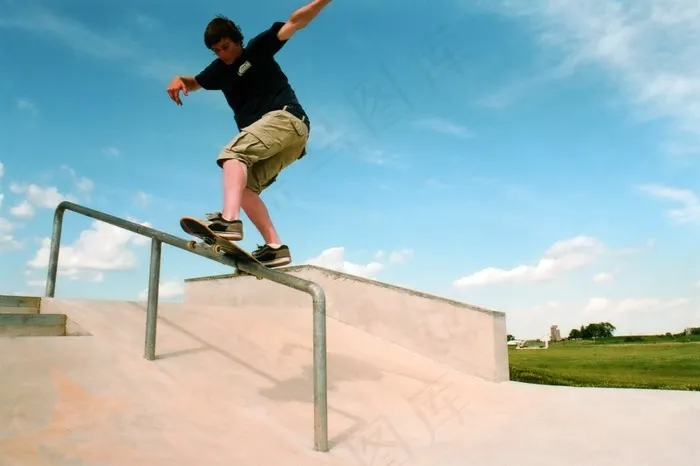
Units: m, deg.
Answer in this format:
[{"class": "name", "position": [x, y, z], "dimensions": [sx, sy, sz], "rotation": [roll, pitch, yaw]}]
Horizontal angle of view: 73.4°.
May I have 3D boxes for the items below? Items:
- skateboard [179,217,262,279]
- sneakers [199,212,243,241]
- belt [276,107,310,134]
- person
[{"class": "skateboard", "position": [-0.949, 0.076, 3.519], "dimensions": [0.697, 0.097, 0.209], "rotation": [36, -30, -28]}, {"class": "sneakers", "position": [-0.962, -0.042, 3.523], "dimensions": [0.310, 0.121, 0.101], "rotation": [22, -25, -16]}, {"class": "belt", "position": [-0.459, -0.990, 4.020], "dimensions": [0.264, 0.222, 0.117], "rotation": [13, 1, -12]}, {"class": "person", "position": [-0.776, -0.734, 3.723], "dimensions": [0.899, 1.544, 1.461], "rotation": [26, -56, -29]}]
